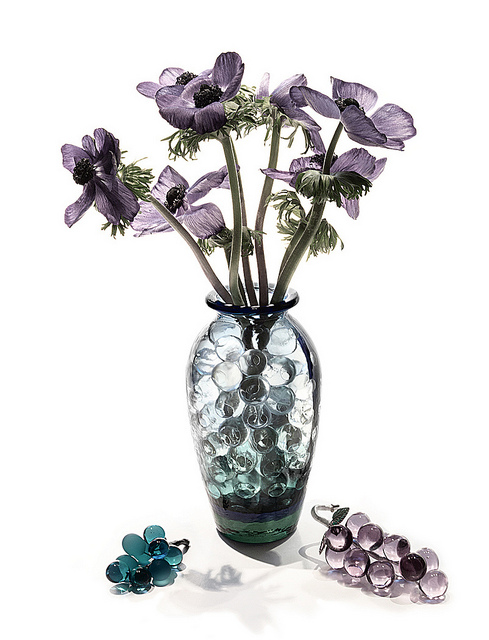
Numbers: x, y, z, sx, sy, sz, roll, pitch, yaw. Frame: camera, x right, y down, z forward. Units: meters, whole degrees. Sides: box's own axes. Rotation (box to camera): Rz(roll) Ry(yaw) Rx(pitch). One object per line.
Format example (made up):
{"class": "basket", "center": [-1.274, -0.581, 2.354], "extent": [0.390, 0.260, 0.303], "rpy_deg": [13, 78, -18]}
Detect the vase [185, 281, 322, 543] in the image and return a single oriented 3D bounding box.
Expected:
{"class": "vase", "center": [0.019, 0.262, 1.613], "extent": [0.308, 0.530, 0.391], "rpy_deg": [1, -18, 15]}

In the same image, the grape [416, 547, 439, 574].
{"class": "grape", "center": [0.418, 0.549, 1.537], "extent": [0.053, 0.048, 0.037], "rpy_deg": [-4, -4, 2]}

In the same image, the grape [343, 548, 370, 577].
{"class": "grape", "center": [0.248, 0.538, 1.491], "extent": [0.061, 0.057, 0.043], "rpy_deg": [7, -16, 9]}

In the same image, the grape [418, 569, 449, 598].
{"class": "grape", "center": [0.410, 0.560, 1.436], "extent": [0.064, 0.055, 0.039], "rpy_deg": [2, -15, 9]}

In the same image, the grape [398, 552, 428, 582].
{"class": "grape", "center": [0.362, 0.536, 1.455], "extent": [0.066, 0.064, 0.062], "rpy_deg": [0, -5, 4]}

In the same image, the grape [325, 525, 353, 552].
{"class": "grape", "center": [0.216, 0.503, 1.543], "extent": [0.064, 0.060, 0.047], "rpy_deg": [3, -18, 8]}

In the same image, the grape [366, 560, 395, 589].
{"class": "grape", "center": [0.295, 0.552, 1.456], "extent": [0.062, 0.060, 0.058], "rpy_deg": [1, -7, -6]}

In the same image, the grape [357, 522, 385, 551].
{"class": "grape", "center": [0.288, 0.495, 1.532], "extent": [0.063, 0.061, 0.060], "rpy_deg": [0, -2, 6]}

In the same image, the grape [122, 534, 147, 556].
{"class": "grape", "center": [-0.245, 0.507, 1.510], "extent": [0.022, 0.046, 0.070], "rpy_deg": [-8, -21, 38]}

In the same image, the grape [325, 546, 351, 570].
{"class": "grape", "center": [0.210, 0.544, 1.545], "extent": [0.056, 0.056, 0.052], "rpy_deg": [-1, -1, 4]}

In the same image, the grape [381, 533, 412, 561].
{"class": "grape", "center": [0.350, 0.519, 1.567], "extent": [0.056, 0.041, 0.063], "rpy_deg": [-22, 40, -19]}

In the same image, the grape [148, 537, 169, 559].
{"class": "grape", "center": [-0.194, 0.523, 1.539], "extent": [0.047, 0.045, 0.034], "rpy_deg": [4, -14, -10]}

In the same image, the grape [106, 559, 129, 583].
{"class": "grape", "center": [-0.281, 0.560, 1.495], "extent": [0.046, 0.051, 0.052], "rpy_deg": [0, 1, -4]}
